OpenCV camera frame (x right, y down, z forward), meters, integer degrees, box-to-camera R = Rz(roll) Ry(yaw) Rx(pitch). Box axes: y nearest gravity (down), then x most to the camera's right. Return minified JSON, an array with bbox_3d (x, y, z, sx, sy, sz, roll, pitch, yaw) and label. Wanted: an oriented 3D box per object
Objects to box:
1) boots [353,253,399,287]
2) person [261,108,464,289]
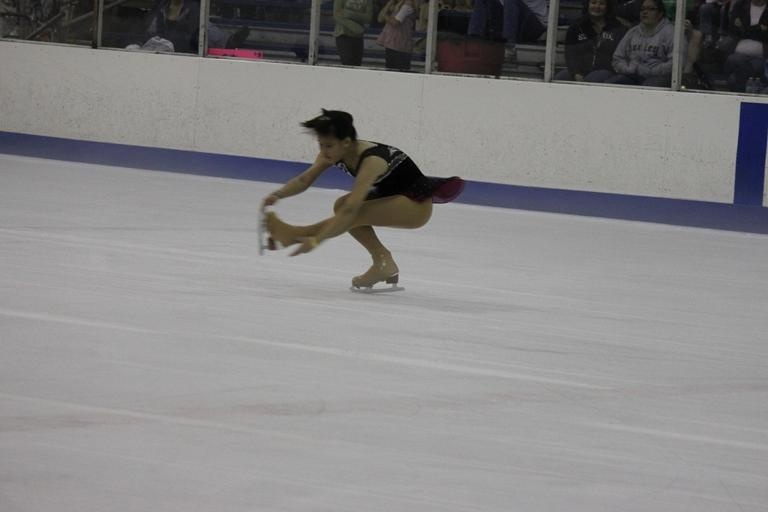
[{"bbox_3d":[-0.047,0.065,6.203,0.311,0.205,0.120,-7,-5,25],"label":"boots"},{"bbox_3d":[0.009,-0.385,6.319,1.384,1.069,0.699,-10,15,-19],"label":"person"}]
